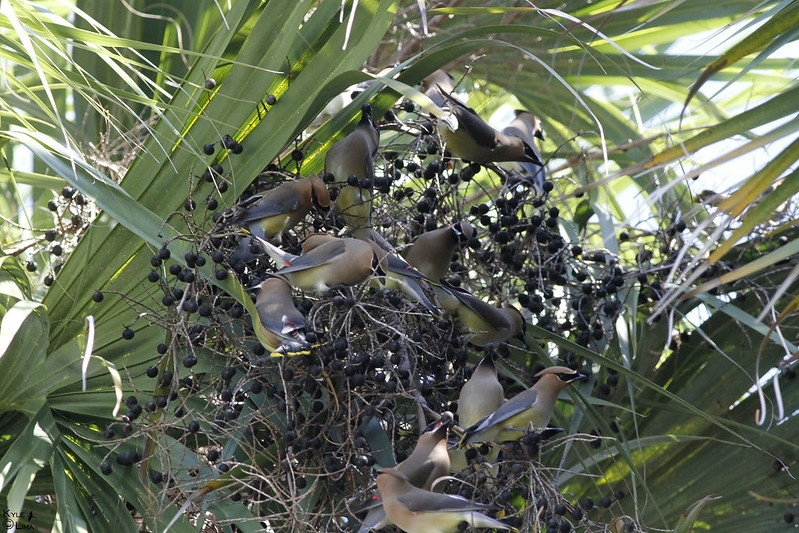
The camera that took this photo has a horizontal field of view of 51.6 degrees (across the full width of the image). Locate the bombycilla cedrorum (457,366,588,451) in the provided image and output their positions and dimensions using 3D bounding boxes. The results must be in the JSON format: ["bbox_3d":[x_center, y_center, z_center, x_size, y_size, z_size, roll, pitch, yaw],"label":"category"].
[{"bbox_3d":[0.395,0.493,2.760,0.379,0.160,0.287,-7,47,17],"label":"bombycilla cedrorum"}]

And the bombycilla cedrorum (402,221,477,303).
[{"bbox_3d":[0.118,-0.022,3.021,0.118,0.374,0.170,25,66,-18],"label":"bombycilla cedrorum"}]

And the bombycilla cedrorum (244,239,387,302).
[{"bbox_3d":[-0.272,-0.006,2.769,0.451,0.154,0.229,3,89,5],"label":"bombycilla cedrorum"}]

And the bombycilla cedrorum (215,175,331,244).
[{"bbox_3d":[-0.415,-0.204,2.823,0.321,0.154,0.289,13,96,-6],"label":"bombycilla cedrorum"}]
